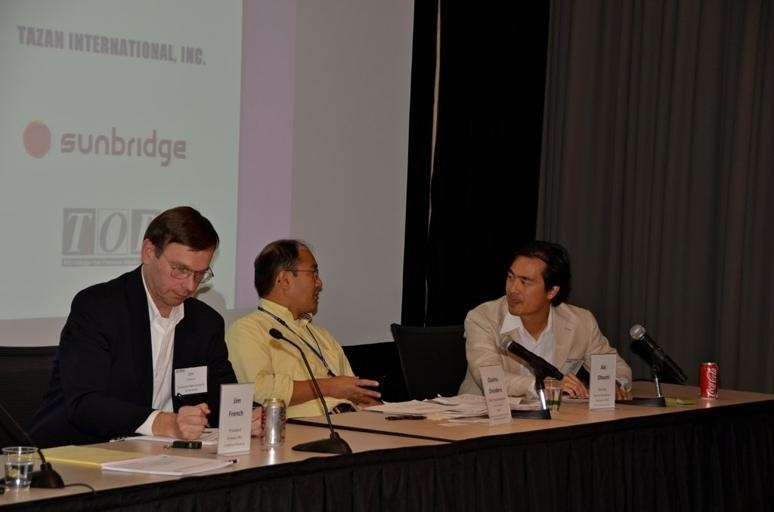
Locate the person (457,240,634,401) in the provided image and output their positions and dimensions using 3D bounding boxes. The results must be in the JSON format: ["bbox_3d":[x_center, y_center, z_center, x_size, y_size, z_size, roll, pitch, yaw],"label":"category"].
[{"bbox_3d":[0.758,0.388,3.999,0.916,1.315,0.861,2,-6,-7],"label":"person"}]

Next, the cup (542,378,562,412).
[{"bbox_3d":[0.782,0.671,3.103,0.072,0.112,0.068,3,1,0],"label":"cup"}]

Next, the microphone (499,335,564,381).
[{"bbox_3d":[0.746,0.538,3.476,0.327,0.093,0.100,29,-39,-18],"label":"microphone"}]

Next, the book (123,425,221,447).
[{"bbox_3d":[-0.827,0.703,2.558,0.344,0.056,0.256,-2,-5,-19],"label":"book"}]

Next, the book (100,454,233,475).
[{"bbox_3d":[-0.734,0.706,2.250,0.406,0.043,0.236,-4,-5,12],"label":"book"}]

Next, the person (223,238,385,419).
[{"bbox_3d":[-0.456,0.416,3.544,0.676,0.980,0.655,-2,9,-34],"label":"person"}]

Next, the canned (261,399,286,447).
[{"bbox_3d":[-0.433,0.633,2.517,0.093,0.175,0.074,-3,-3,-1],"label":"canned"}]

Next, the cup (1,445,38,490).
[{"bbox_3d":[-1.138,0.661,2.107,0.105,0.119,0.116,4,-15,-15],"label":"cup"}]
